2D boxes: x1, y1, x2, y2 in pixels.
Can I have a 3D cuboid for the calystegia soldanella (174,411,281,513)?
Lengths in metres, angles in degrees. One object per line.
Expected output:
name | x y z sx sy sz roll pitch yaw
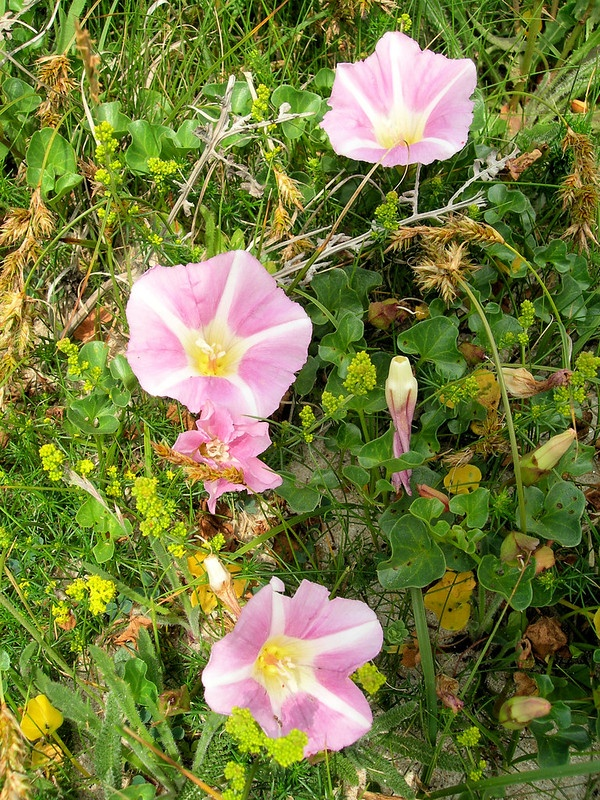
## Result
calystegia soldanella | -0.157 0.153 1.651 0.216 0.342 0.215 -26 73 -4

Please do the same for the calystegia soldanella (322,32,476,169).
calystegia soldanella | 0.305 -0.785 1.746 0.296 0.333 0.150 -1 83 43

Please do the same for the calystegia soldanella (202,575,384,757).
calystegia soldanella | 0.020 0.521 1.293 0.322 0.158 0.318 37 78 13

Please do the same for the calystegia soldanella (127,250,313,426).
calystegia soldanella | -0.217 -0.127 1.584 0.448 0.390 0.193 -6 48 8
